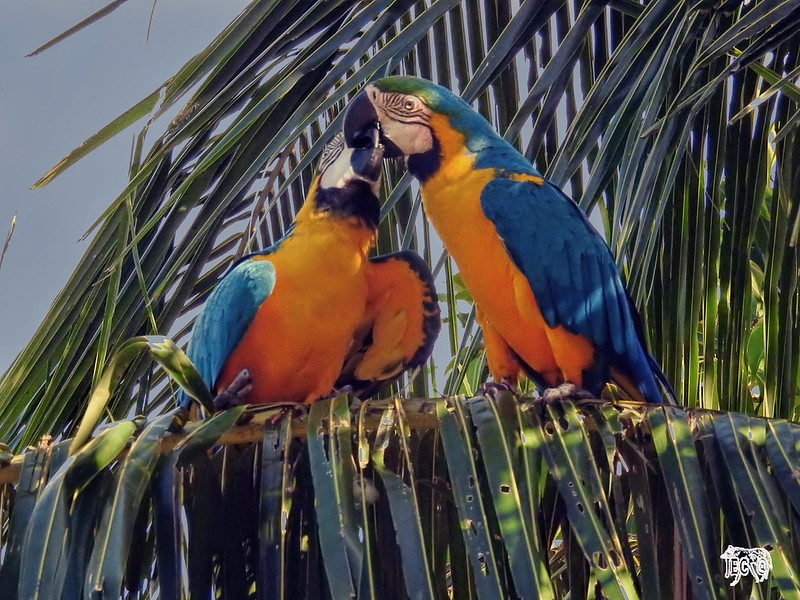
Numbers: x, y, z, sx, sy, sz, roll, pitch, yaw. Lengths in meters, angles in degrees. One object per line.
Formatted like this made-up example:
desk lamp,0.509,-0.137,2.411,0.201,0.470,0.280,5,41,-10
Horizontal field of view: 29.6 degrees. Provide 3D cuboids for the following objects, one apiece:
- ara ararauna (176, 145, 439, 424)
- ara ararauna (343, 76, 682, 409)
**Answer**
ara ararauna,-0.311,-0.044,4.797,0.579,1.024,0.845,9,-2,-36
ara ararauna,0.338,-0.083,4.381,0.891,1.154,0.455,-1,-19,-23
